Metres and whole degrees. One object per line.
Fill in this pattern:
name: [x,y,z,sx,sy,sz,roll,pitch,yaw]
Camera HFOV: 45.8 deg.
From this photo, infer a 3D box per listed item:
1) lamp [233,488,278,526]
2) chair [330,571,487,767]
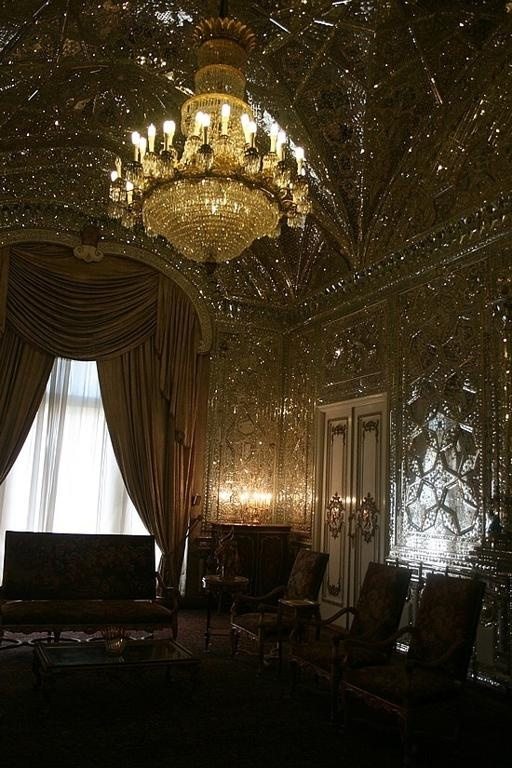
lamp: [-0.036,1.658,8.099,0.413,0.434,0.134,11,-23,-28]
chair: [0.866,1.653,3.700,0.858,1.334,0.801,15,-21,-21]
